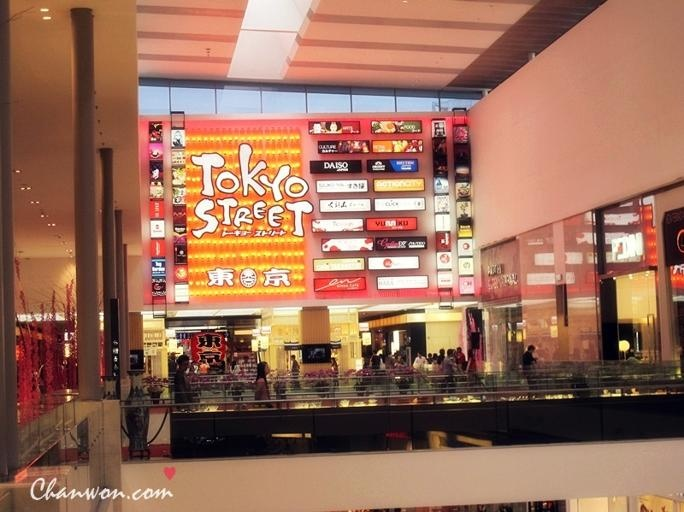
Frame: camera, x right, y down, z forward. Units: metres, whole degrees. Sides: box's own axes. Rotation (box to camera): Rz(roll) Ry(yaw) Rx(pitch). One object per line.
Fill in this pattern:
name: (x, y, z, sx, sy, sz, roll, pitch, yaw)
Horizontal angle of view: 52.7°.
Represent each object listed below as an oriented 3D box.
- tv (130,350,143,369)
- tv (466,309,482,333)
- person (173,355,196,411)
tv: (-7.010, 3.545, 23.609, 0.557, 0.579, 1.052, 2, -1, -9)
tv: (4.868, 2.336, 25.503, 0.570, 0.899, 0.473, -3, -7, 11)
person: (-2.658, 2.087, 11.561, 0.294, 0.806, 1.747, 0, -6, -13)
